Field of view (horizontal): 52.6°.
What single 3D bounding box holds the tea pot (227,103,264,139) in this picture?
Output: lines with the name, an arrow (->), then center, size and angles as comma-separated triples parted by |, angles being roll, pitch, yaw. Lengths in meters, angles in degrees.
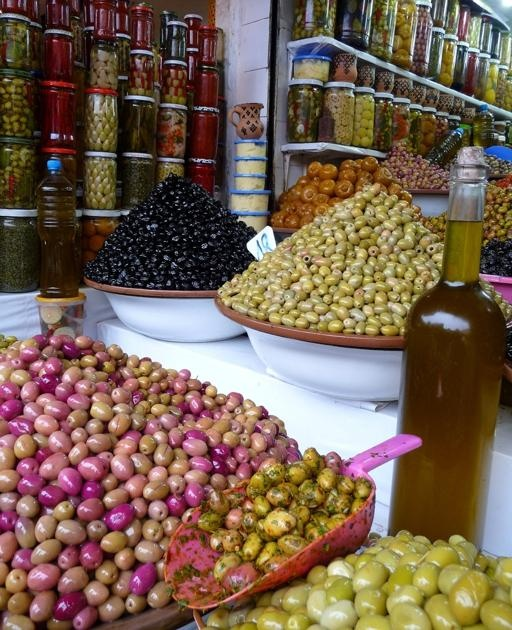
tea pot -> -0.033, -1.104, 2.918 | 0.268, 0.225, 0.176 | 1, 22, 2

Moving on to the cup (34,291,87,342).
cup -> -0.666, -0.022, 1.882 | 0.250, 0.201, 0.208 | -1, 12, -16

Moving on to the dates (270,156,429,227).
dates -> 0.426, -0.750, 3.059 | 0.718, 0.293, 0.730 | 0, 23, 17

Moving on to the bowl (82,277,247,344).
bowl -> -0.223, -0.053, 1.658 | 0.424, 0.195, 0.416 | -2, 16, 1

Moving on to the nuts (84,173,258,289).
nuts -> -0.274, -0.294, 1.722 | 0.642, 0.330, 0.485 | -13, 17, -38
